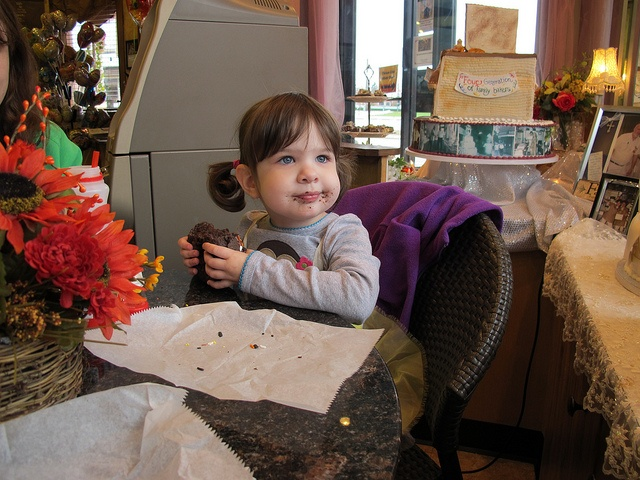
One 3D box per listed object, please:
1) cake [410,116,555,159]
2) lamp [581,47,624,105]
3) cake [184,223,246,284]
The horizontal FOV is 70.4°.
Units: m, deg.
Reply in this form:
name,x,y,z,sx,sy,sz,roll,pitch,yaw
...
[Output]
name,x,y,z,sx,sy,sz,roll,pitch,yaw
cake,0.555,-0.357,1.586,0.472,0.123,0.240,8,17,23
lamp,2.748,-1.633,4.311,0.297,0.353,0.310,-11,21,19
cake,-0.240,0.023,1.037,0.112,0.112,0.141,-11,20,-37
